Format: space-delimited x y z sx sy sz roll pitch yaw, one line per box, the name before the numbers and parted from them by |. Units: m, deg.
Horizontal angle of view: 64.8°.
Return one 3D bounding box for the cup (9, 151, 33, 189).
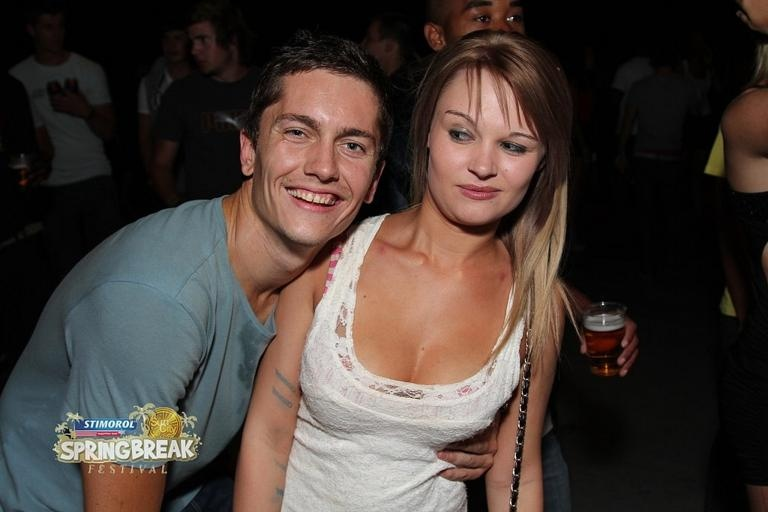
cup | -2.538 -0.594 4.267 0.146 0.230 0.147 1 10 0
